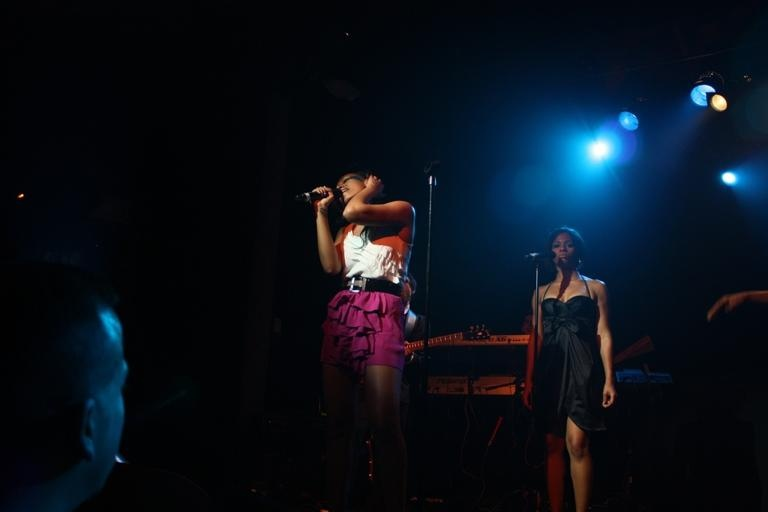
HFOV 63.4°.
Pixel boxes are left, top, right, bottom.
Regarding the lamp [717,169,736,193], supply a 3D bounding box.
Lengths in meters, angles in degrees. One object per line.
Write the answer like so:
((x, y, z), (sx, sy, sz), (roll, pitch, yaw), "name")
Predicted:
((2.663, -0.595, 4.828), (0.128, 0.137, 0.037), (3, -20, 3), "lamp")

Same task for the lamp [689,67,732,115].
((2.465, -1.218, 4.722), (0.264, 0.250, 0.243), (-1, -22, 13), "lamp")

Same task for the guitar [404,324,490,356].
((0.491, 0.658, 4.819), (0.929, 0.181, 0.157), (-11, -10, 28), "guitar")

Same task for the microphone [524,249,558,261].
((1.188, 0.001, 4.739), (0.216, 0.069, 0.095), (-6, -52, -21), "microphone")
